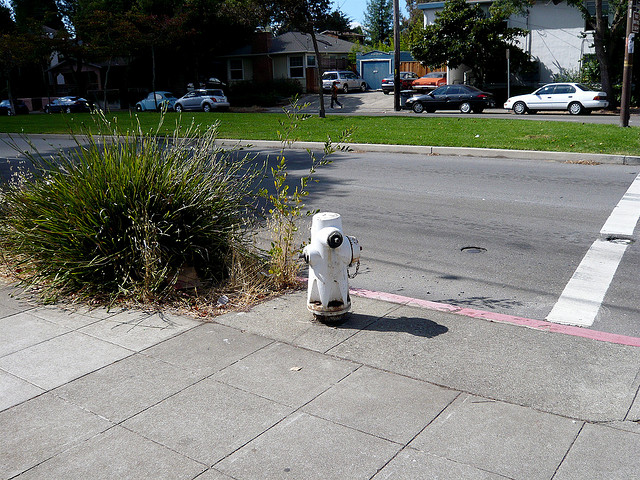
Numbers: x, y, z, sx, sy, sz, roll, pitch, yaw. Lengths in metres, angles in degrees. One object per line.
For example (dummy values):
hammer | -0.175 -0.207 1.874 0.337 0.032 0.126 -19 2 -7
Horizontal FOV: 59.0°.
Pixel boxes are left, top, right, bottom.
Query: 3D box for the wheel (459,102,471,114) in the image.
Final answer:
wheel | 7.768 -7.043 30.137 0.687 0.712 0.247 6 10 32

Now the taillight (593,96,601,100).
taillight | 13.154 -6.700 26.795 0.256 0.142 0.176 10 8 7

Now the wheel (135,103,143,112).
wheel | -13.626 -9.811 42.642 0.737 0.764 0.269 -7 -3 42

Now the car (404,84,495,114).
car | 7.085 -7.560 31.192 4.336 1.455 1.925 9 24 26

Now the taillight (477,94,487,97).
taillight | 8.617 -7.601 29.906 0.659 0.166 0.171 -13 19 -26

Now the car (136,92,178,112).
car | -12.307 -10.295 42.203 2.669 1.193 4.443 -13 20 -26

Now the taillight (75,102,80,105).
taillight | -20.219 -11.320 47.061 0.116 0.168 0.406 3 19 23

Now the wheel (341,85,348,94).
wheel | 2.044 -12.645 47.630 0.315 0.858 0.854 9 14 32

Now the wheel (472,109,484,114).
wheel | 8.368 -6.847 30.131 0.437 0.180 0.484 0 1 -6

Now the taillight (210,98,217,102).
taillight | -7.173 -9.441 38.228 0.265 0.242 0.197 -16 15 -5

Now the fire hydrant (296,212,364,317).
fire hydrant | 0.133 0.129 6.383 0.926 1.281 0.967 -3 16 -3

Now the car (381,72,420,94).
car | 6.852 -12.877 46.281 1.939 1.481 4.504 10 22 37

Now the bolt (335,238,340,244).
bolt | 0.175 0.011 5.748 0.051 0.064 0.010 -14 19 -29

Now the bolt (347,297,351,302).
bolt | 0.310 0.645 6.112 0.036 0.037 0.039 1 3 32

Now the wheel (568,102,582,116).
wheel | 12.451 -6.400 27.591 0.253 0.567 0.706 -13 19 -26

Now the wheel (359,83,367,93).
wheel | 3.829 -13.430 49.899 0.432 0.714 1.220 2 18 21

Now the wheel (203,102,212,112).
wheel | -7.625 -8.990 38.280 0.764 0.791 0.258 9 12 19

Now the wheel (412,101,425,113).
wheel | 5.524 -7.421 31.523 0.589 0.572 0.338 -1 17 10

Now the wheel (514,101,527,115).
wheel | 10.294 -6.769 28.984 0.428 0.642 0.782 -8 18 -12
